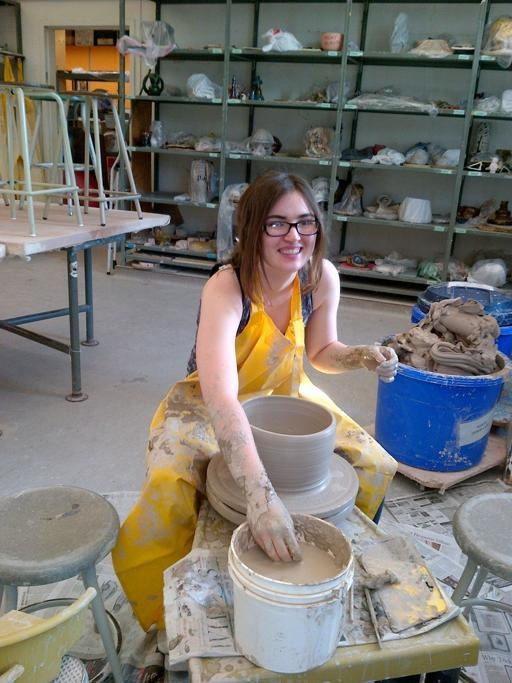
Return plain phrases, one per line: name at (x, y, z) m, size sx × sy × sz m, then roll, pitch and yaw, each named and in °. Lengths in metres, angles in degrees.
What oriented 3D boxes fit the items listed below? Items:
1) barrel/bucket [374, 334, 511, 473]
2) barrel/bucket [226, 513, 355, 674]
barrel/bucket at (0.700, 0.262, 2.281) m, size 0.502 × 0.409 × 0.490 m, roll 2°, pitch 24°, yaw -1°
barrel/bucket at (0.058, 0.351, 0.814) m, size 0.180 × 0.151 × 0.172 m, roll 0°, pitch 23°, yaw 0°
